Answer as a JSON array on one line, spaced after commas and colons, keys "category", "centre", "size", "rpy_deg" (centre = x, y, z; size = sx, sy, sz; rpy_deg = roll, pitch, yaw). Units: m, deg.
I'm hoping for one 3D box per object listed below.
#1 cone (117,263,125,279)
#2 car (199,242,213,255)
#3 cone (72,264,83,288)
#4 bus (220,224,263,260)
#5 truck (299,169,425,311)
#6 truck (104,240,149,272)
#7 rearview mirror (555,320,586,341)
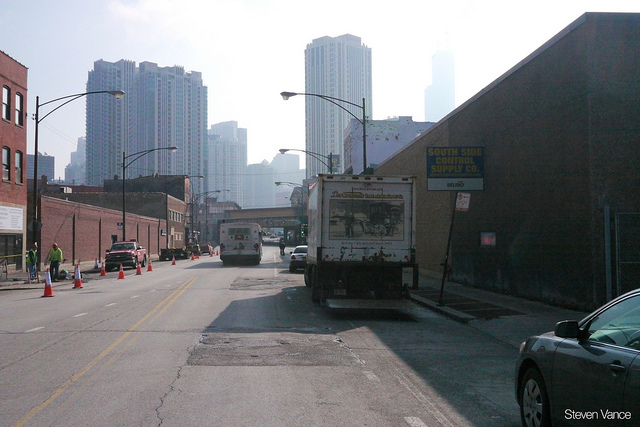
[{"category": "cone", "centre": [-11.901, 3.437, 36.394], "size": [0.636, 0.836, 0.643], "rpy_deg": [1, 8, -13]}, {"category": "car", "centre": [-13.915, 4.314, 74.740], "size": [1.496, 1.360, 2.971], "rpy_deg": [0, 1, -7]}, {"category": "cone", "centre": [-11.134, 2.868, 27.932], "size": [0.417, 1.054, 0.853], "rpy_deg": [-1, -3, -23]}, {"category": "bus", "centre": [-5.485, 1.937, 42.719], "size": [3.114, 2.382, 1.635], "rpy_deg": [-1, -3, -21]}, {"category": "truck", "centre": [1.227, 1.068, 22.729], "size": [3.572, 3.875, 7.279], "rpy_deg": [2, -4, -6]}, {"category": "truck", "centre": [-13.320, 2.812, 42.429], "size": [1.619, 1.208, 3.386], "rpy_deg": [0, -7, 0]}, {"category": "rearview mirror", "centre": [4.384, 2.039, 10.631], "size": [0.336, 0.174, 0.346], "rpy_deg": [0, -3, 12]}]
